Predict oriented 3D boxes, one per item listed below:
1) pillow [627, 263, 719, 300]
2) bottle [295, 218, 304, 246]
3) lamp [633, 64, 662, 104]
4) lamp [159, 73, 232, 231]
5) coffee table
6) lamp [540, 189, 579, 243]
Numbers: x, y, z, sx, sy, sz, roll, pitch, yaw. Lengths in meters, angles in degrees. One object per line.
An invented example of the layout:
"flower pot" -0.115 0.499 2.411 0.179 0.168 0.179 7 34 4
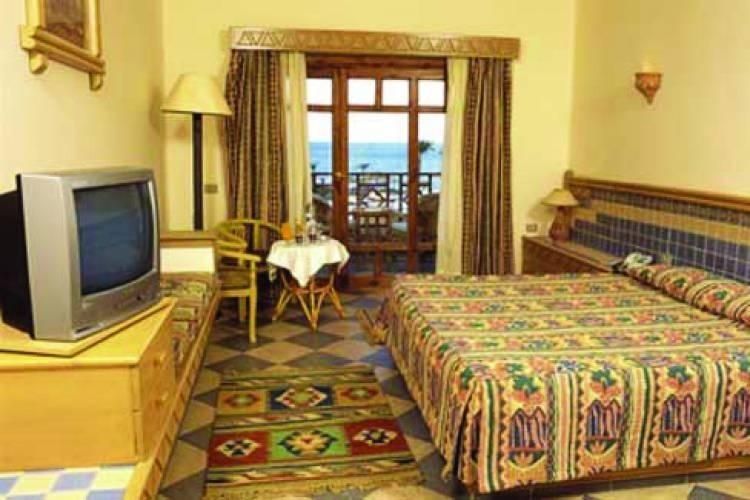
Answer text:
"pillow" 2.245 0.217 4.424 0.229 0.070 0.394 -13 13 -11
"bottle" -0.715 -0.167 5.458 0.087 0.166 0.151 -2 13 -8
"lamp" 2.394 -1.444 5.056 0.209 0.313 0.559 5 14 25
"lamp" -1.703 -0.924 5.624 0.619 1.569 1.089 -4 13 -16
"coffee table" -0.622 0.275 5.646 0.851 0.796 0.851 1 6 7
"lamp" 2.082 -0.400 6.441 0.359 0.562 0.579 7 14 29
